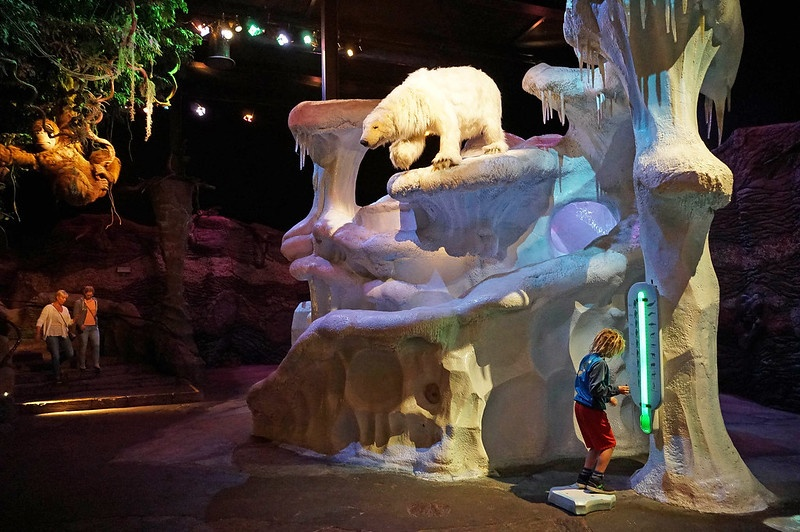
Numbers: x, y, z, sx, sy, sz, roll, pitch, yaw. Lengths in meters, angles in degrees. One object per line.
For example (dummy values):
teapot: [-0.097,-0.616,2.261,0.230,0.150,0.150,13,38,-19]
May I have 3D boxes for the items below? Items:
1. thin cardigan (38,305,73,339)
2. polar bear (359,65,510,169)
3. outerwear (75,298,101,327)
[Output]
thin cardigan: [-5.950,0.986,12.272,0.373,0.627,0.679,-3,-4,31]
polar bear: [0.507,-1.951,9.403,2.192,1.277,1.041,-15,17,-30]
outerwear: [-5.662,0.843,12.845,0.403,0.507,0.317,-7,10,-38]
